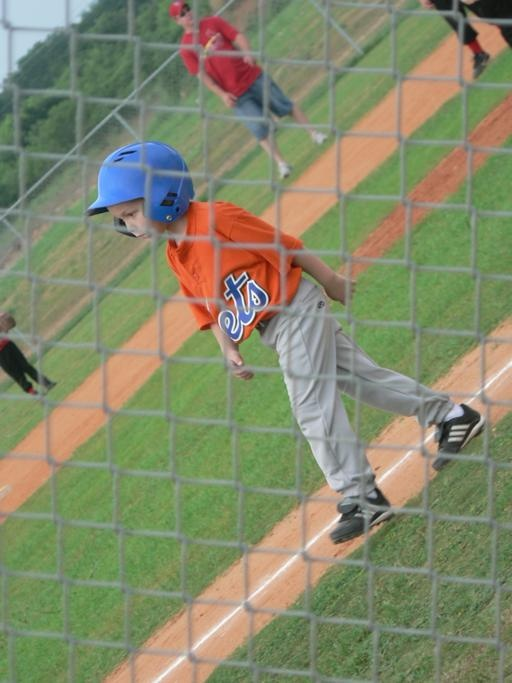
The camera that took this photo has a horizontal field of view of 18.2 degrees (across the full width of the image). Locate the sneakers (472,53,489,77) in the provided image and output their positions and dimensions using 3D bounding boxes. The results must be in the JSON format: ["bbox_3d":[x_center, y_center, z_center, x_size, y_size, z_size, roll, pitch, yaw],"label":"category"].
[{"bbox_3d":[1.360,-1.719,9.780,0.058,0.177,0.074,14,54,9],"label":"sneakers"}]

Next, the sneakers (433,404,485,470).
[{"bbox_3d":[0.921,0.446,7.323,0.341,0.165,0.104,-53,20,25],"label":"sneakers"}]

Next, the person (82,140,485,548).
[{"bbox_3d":[0.143,-0.026,7.001,1.250,2.046,1.057,-19,14,-4],"label":"person"}]
